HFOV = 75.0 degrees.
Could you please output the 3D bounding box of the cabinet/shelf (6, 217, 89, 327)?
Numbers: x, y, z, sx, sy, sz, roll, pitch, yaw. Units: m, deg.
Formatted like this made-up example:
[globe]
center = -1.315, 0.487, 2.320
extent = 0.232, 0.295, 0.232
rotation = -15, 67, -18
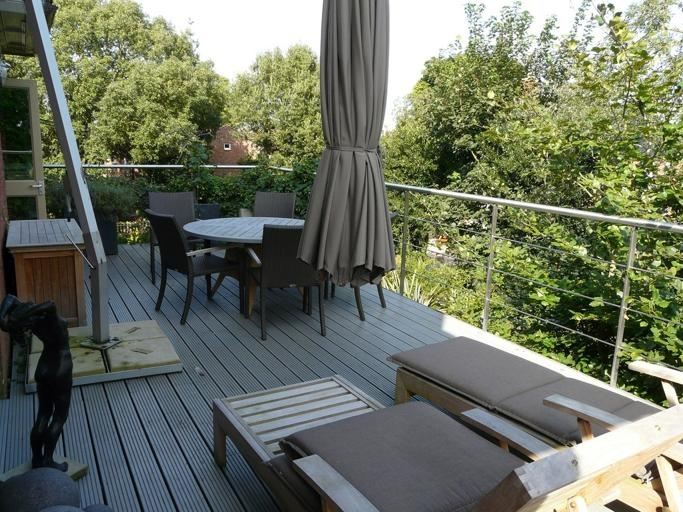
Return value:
[cabinet/shelf]
center = -2.295, 0.120, 3.463
extent = 0.503, 0.629, 0.851
rotation = -4, 18, -26
